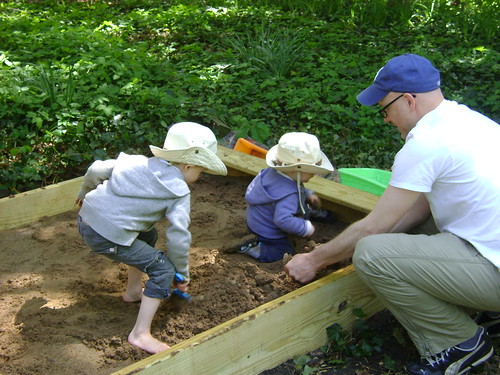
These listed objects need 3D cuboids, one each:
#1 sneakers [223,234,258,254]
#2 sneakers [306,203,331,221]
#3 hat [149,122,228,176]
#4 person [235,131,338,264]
[{"bbox_3d":[-0.133,0.515,4.378,0.378,0.137,0.118,-18,-8,5],"label":"sneakers"},{"bbox_3d":[0.707,0.237,4.628,0.356,0.129,0.104,4,38,6],"label":"sneakers"},{"bbox_3d":[-0.442,-0.285,3.665,0.497,0.199,0.380,19,-1,-4],"label":"hat"},{"bbox_3d":[0.301,0.126,4.376,1.041,1.076,0.786,-6,44,-10],"label":"person"}]
